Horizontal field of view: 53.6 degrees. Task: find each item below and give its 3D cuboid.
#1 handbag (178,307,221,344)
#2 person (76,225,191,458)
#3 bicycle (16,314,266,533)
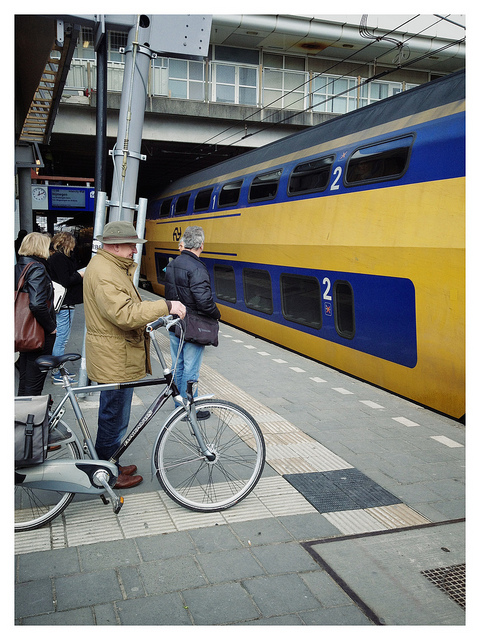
[{"bbox_3d":[-0.371,0.051,4.245,0.340,0.323,0.175,1,6,-41],"label":"handbag"},{"bbox_3d":[-0.857,0.213,3.548,0.667,1.859,1.584,0,4,-19],"label":"person"},{"bbox_3d":[-0.787,0.698,3.017,1.829,1.113,0.678,-4,-3,-5],"label":"bicycle"}]
